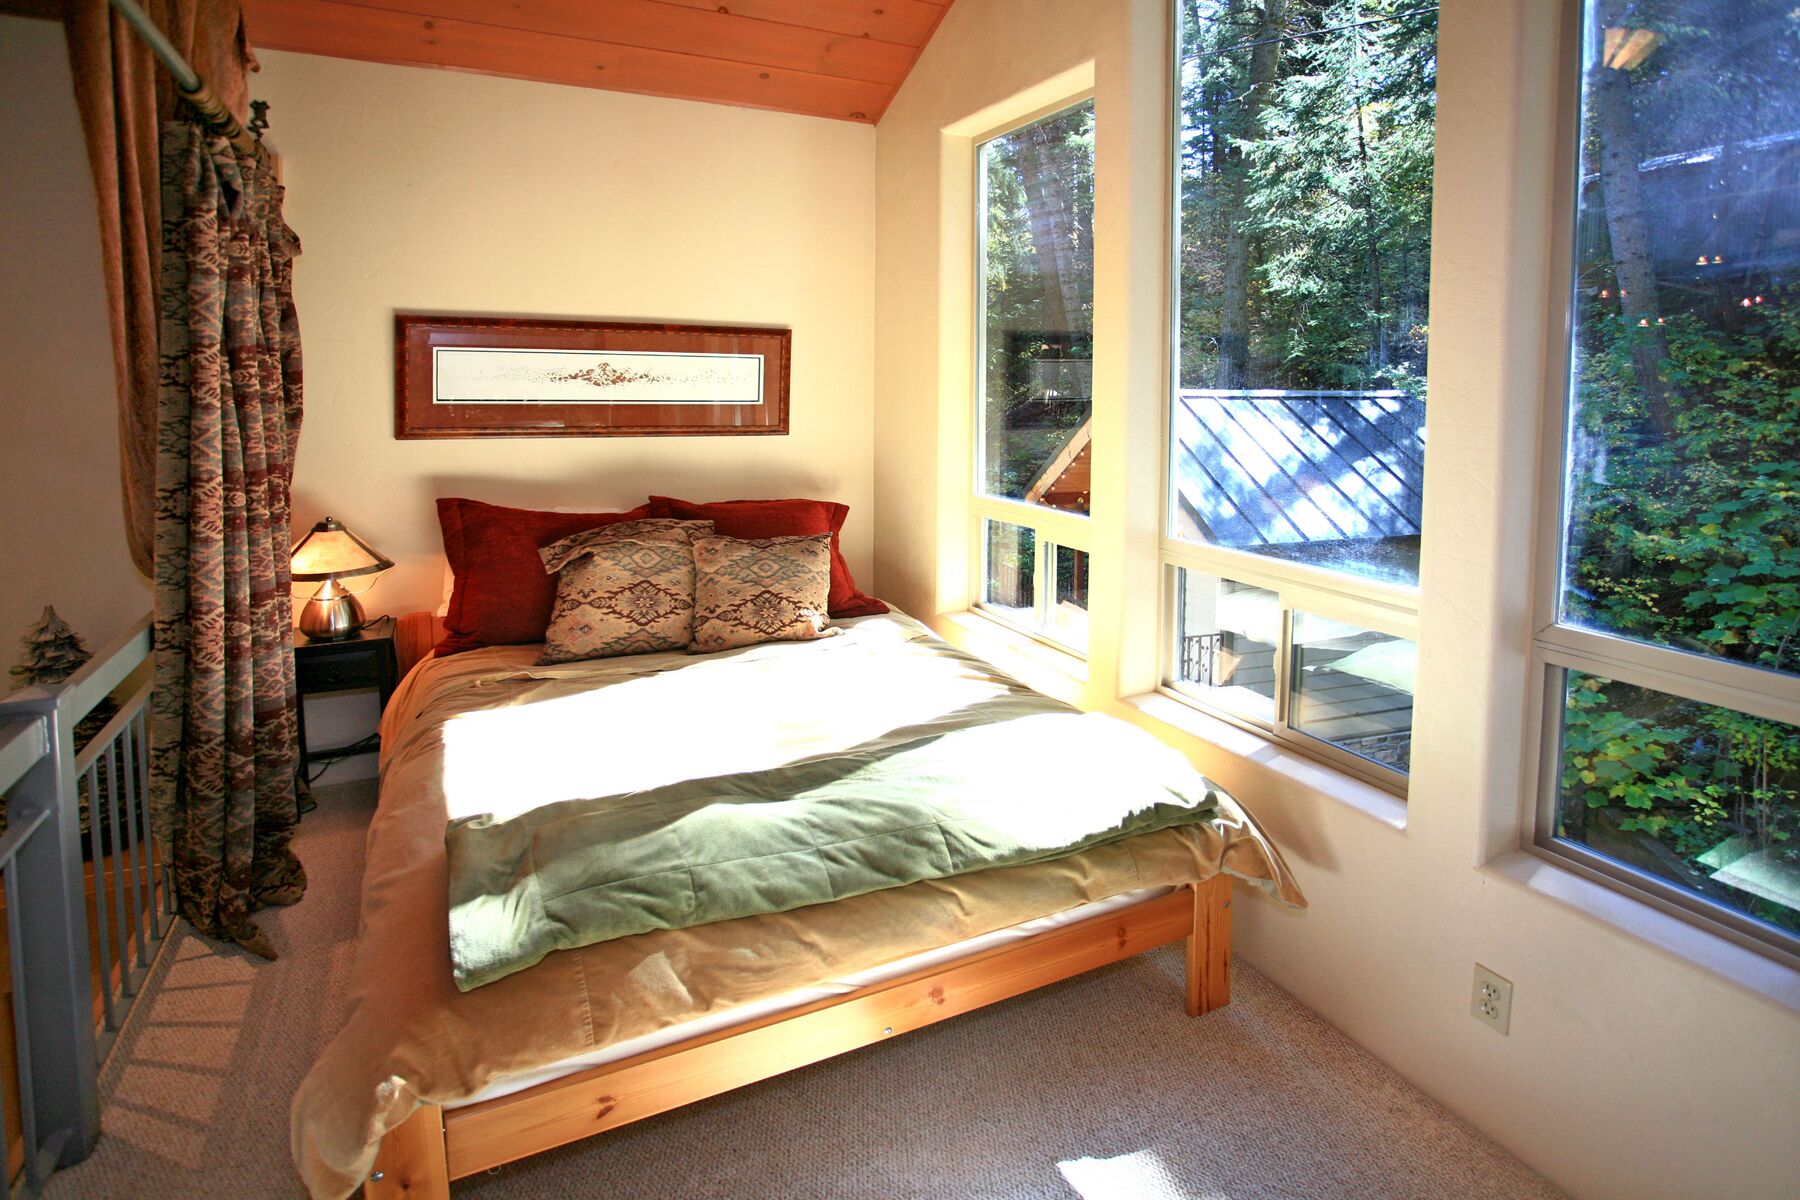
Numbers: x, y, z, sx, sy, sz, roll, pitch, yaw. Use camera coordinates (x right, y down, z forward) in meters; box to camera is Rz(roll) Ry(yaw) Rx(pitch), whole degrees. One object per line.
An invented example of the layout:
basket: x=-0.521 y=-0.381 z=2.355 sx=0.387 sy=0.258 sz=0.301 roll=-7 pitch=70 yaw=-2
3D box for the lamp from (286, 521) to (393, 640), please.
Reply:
lamp: x=-2.227 y=-0.068 z=4.694 sx=0.489 sy=0.475 sz=0.481 roll=-2 pitch=-3 yaw=-9
